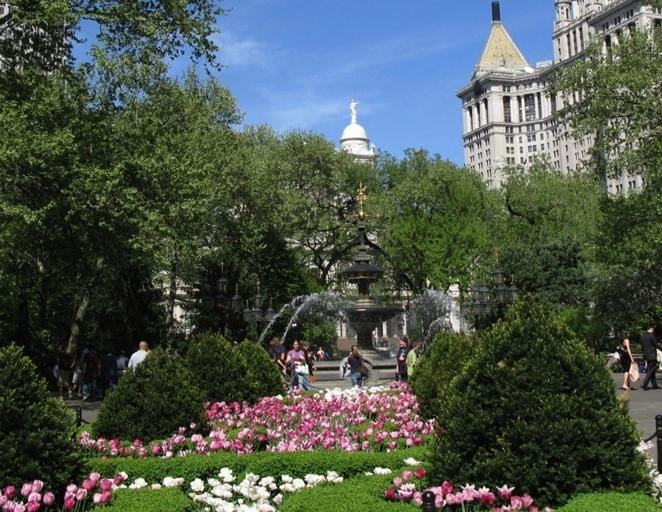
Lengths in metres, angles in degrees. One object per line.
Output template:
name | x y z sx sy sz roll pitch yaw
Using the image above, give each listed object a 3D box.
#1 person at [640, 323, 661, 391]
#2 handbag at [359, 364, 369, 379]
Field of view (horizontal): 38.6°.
person | 10.593 3.275 31.410 0.645 1.427 3.238 -7 -5 18
handbag | 0.981 3.441 28.535 0.245 0.371 0.344 -3 -7 6
